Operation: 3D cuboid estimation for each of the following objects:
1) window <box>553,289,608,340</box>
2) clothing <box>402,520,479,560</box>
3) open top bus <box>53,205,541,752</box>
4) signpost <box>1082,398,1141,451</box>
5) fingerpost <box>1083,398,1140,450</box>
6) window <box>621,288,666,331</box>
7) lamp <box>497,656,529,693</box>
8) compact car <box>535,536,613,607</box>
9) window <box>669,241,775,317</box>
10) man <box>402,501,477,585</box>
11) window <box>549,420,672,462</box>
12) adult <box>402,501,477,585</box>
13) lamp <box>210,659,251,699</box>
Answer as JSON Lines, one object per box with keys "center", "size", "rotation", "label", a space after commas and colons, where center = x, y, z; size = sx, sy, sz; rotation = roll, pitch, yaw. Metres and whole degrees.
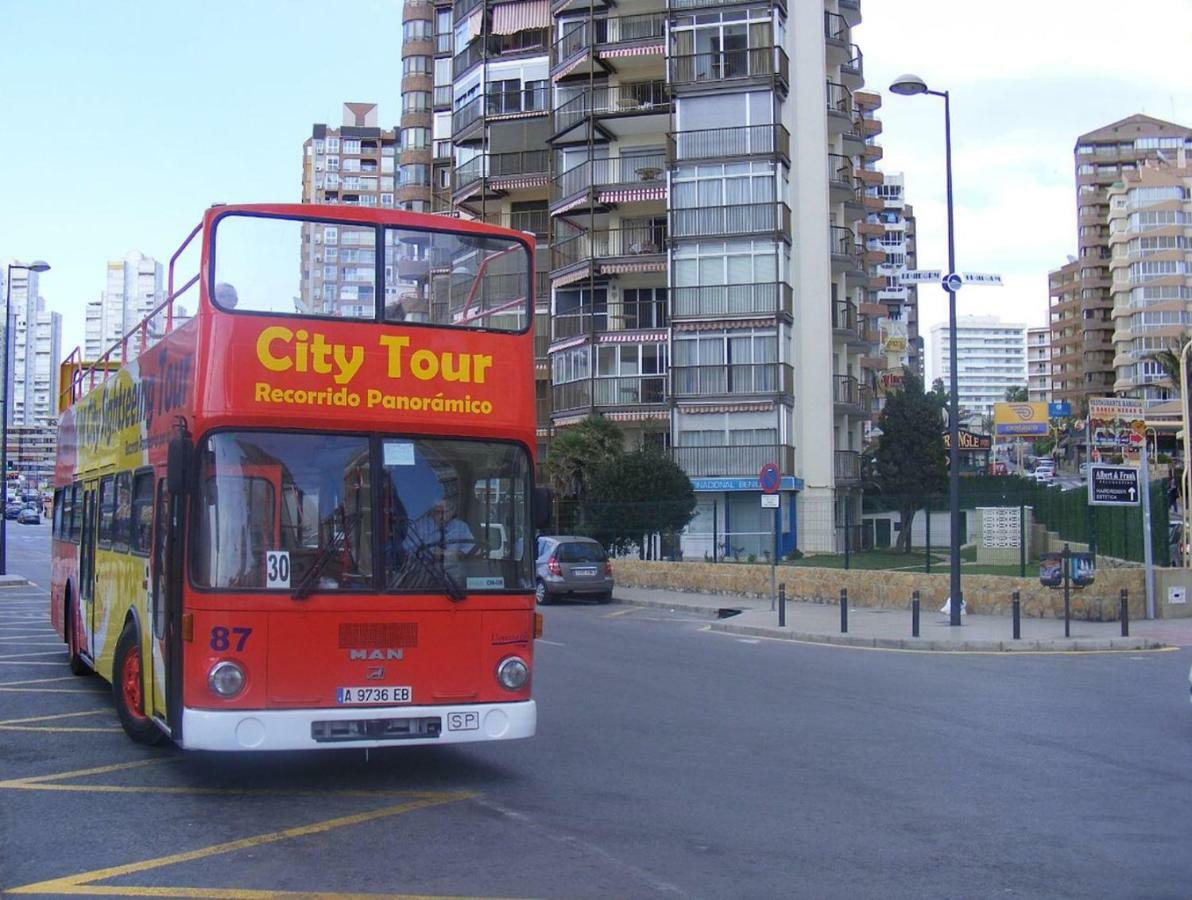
{"center": [-0.431, -5.123, 54.323], "size": [1.912, 2.068, 0.685], "rotation": [-5, -9, 43], "label": "window"}
{"center": [-1.445, 0.812, 13.438], "size": [0.454, 0.200, 0.355], "rotation": [14, 1, -21], "label": "clothing"}
{"center": [-4.488, 0.554, 18.248], "size": [3.484, 5.142, 11.330], "rotation": [2, -3, -29], "label": "open top bus"}
{"center": [11.452, -0.566, 31.443], "size": [1.421, 1.530, 0.514], "rotation": [2, -3, 1], "label": "signpost"}
{"center": [11.336, -0.567, 31.101], "size": [1.165, 1.211, 0.163], "rotation": [2, -1, 1], "label": "fingerpost"}
{"center": [1.949, -5.241, 53.519], "size": [1.548, 1.772, 0.191], "rotation": [3, 4, 30], "label": "window"}
{"center": [-0.788, 2.114, 13.588], "size": [0.252, 0.280, 0.109], "rotation": [19, -7, -31], "label": "lamp"}
{"center": [-0.449, 2.994, 35.457], "size": [1.354, 1.294, 2.508], "rotation": [0, 1, -13], "label": "compact car"}
{"center": [4.674, -5.921, 49.818], "size": [2.415, 1.974, 0.271], "rotation": [-1, -4, 20], "label": "window"}
{"center": [-1.438, 0.899, 13.436], "size": [0.645, 0.801, 0.223], "rotation": [0, 1, -3], "label": "man"}
{"center": [0.251, -0.382, 46.959], "size": [2.198, 1.240, 2.127], "rotation": [-1, 0, -5], "label": "window"}
{"center": [-1.455, 0.848, 13.553], "size": [0.697, 0.928, 0.640], "rotation": [1, 3, 25], "label": "adult"}
{"center": [-3.313, 2.045, 12.872], "size": [0.293, 0.338, 0.102], "rotation": [-2, -1, -18], "label": "lamp"}
